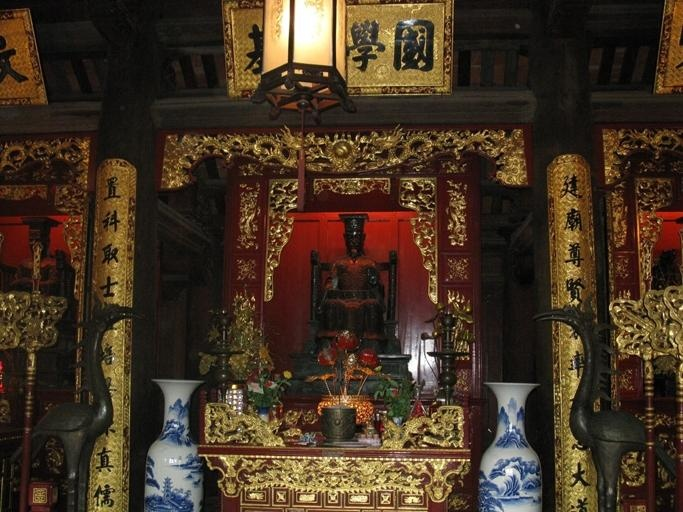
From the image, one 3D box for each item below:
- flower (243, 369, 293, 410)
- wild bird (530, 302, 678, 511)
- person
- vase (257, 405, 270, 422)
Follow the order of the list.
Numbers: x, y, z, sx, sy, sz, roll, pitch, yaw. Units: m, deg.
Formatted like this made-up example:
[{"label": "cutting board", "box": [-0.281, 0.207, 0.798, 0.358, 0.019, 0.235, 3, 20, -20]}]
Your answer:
[{"label": "flower", "box": [-0.661, 1.075, 9.960, 0.423, 0.401, 0.418, 5, 3, 8]}, {"label": "wild bird", "box": [1.971, 1.175, 9.362, 0.708, 1.581, 0.352, -1, -8, 9]}, {"label": "person", "box": [0.088, 0.257, 11.606, 0.653, 1.349, 0.423, 0, -8, -1]}, {"label": "vase", "box": [-0.616, 1.289, 9.861, 0.107, 0.125, 0.105, -5, -11, 15]}]
